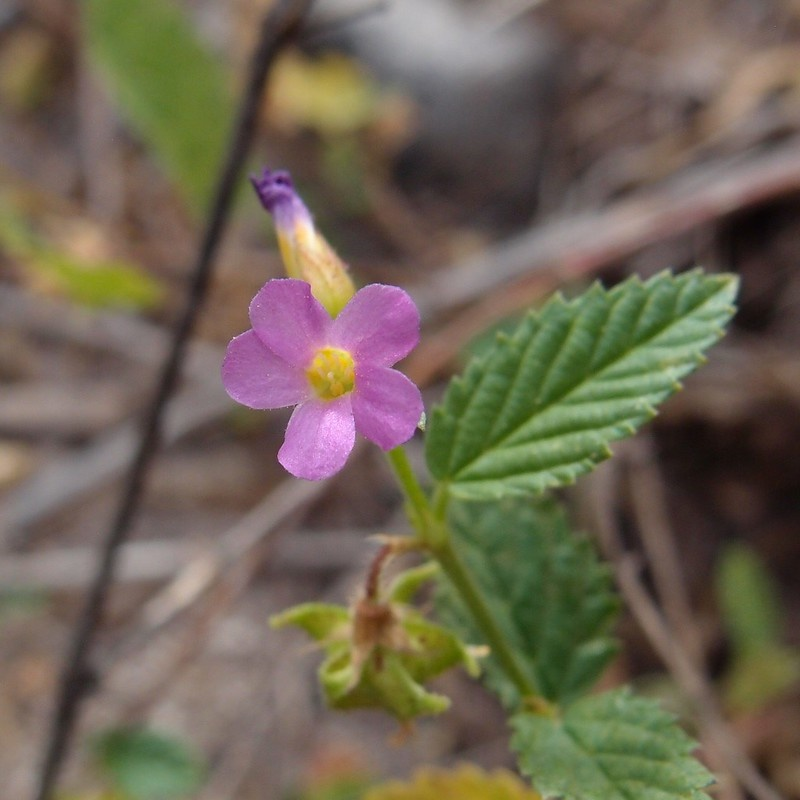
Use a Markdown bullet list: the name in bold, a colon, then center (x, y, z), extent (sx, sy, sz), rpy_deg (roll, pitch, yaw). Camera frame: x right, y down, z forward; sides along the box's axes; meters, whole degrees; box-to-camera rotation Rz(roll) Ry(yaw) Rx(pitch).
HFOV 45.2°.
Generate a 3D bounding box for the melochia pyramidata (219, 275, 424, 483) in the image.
- **melochia pyramidata**: center (-0.116, -0.035, 1.774), extent (0.410, 0.157, 0.354), rpy_deg (16, 102, 31)
